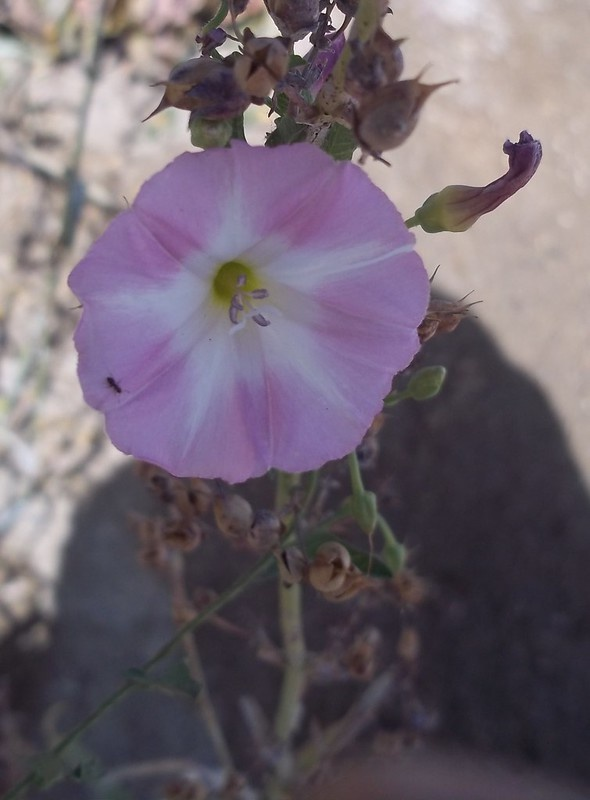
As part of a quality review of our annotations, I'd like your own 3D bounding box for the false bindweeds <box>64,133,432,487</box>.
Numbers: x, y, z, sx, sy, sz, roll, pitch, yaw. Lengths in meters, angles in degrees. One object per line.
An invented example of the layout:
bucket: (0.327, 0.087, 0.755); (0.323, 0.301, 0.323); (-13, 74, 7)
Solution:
false bindweeds: (-0.029, -0.049, 0.525); (0.218, 0.229, 0.114); (-4, 47, -12)
